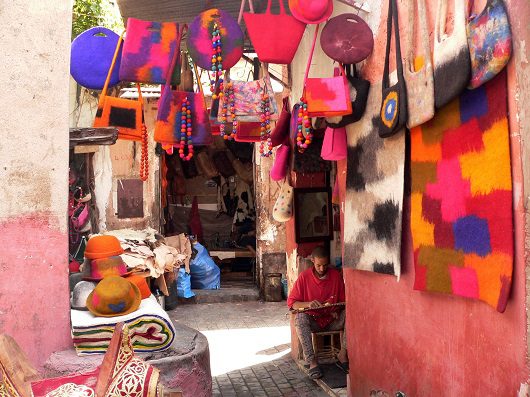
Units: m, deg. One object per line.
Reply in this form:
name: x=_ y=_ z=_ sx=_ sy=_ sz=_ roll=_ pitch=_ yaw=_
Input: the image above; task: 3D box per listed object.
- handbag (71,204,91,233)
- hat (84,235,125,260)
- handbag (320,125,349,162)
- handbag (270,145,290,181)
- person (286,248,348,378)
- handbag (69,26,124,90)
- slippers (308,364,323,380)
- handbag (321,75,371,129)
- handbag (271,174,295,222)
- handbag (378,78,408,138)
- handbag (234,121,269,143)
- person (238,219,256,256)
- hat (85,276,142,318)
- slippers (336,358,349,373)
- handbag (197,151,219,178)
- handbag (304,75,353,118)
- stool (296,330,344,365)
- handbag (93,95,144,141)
handbag: x=-2.777 y=0.309 z=7.204 sx=0.137 sy=0.140 sz=0.379 roll=-14 pitch=10 yaw=4
hat: x=-1.344 y=0.398 z=3.997 sx=0.210 sy=0.133 sz=0.216 roll=-2 pitch=0 yaw=-33
handbag: x=0.592 y=-0.434 z=4.245 sx=0.223 sy=0.464 sz=0.276 roll=1 pitch=-3 yaw=24
handbag: x=0.173 y=-0.415 z=5.683 sx=0.221 sy=0.403 sz=0.480 roll=-1 pitch=2 yaw=1
person: x=0.623 y=1.256 z=5.542 sx=0.677 sy=1.382 sz=0.704 roll=-2 pitch=3 yaw=-7
handbag: x=-1.419 y=-1.178 z=3.990 sx=0.441 sy=0.514 sz=0.102 roll=22 pitch=5 yaw=-5
slippers: x=0.547 y=1.898 z=5.294 sx=0.155 sy=0.157 sz=0.191 roll=-1 pitch=2 yaw=8
handbag: x=0.711 y=-0.764 z=3.803 sx=0.263 sy=0.428 sz=0.089 roll=15 pitch=17 yaw=40
handbag: x=0.216 y=0.050 z=5.932 sx=0.175 sy=0.602 sz=0.235 roll=13 pitch=-23 yaw=-9
handbag: x=0.865 y=-0.599 z=3.249 sx=0.063 sy=0.529 sz=0.297 roll=9 pitch=-18 yaw=-17
handbag: x=-0.134 y=-0.617 z=4.443 sx=0.220 sy=0.254 sz=0.057 roll=0 pitch=1 yaw=-14
person: x=-0.427 y=0.944 z=11.196 sx=0.337 sy=0.584 sz=1.019 roll=-7 pitch=23 yaw=3
hat: x=-1.137 y=0.728 z=3.598 sx=0.391 sy=0.262 sz=0.241 roll=-2 pitch=3 yaw=-21
slippers: x=0.851 y=1.856 z=5.343 sx=0.085 sy=0.076 sz=0.230 roll=-2 pitch=-3 yaw=-19
handbag: x=-1.412 y=-0.765 z=11.621 sx=0.193 sy=0.614 sz=0.465 roll=-19 pitch=31 yaw=1
handbag: x=0.474 y=-0.764 z=3.644 sx=0.291 sy=0.353 sz=0.073 roll=-1 pitch=-2 yaw=-6
stool: x=0.698 y=1.744 z=5.760 sx=0.296 sy=0.469 sz=0.310 roll=-6 pitch=3 yaw=-12
handbag: x=-1.237 y=-0.692 z=4.084 sx=0.342 sy=0.418 sz=0.088 roll=8 pitch=-4 yaw=-23
